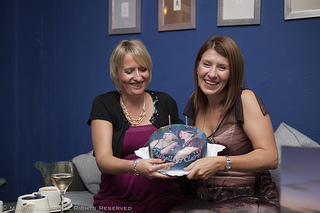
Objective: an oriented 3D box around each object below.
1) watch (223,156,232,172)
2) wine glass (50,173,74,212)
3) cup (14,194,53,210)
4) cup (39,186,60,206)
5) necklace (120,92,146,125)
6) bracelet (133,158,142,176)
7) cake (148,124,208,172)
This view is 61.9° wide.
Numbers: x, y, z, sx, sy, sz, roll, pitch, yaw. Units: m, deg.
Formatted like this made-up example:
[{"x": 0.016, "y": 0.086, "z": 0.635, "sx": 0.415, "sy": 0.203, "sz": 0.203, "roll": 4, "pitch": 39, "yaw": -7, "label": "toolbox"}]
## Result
[{"x": 0.397, "y": 0.335, "z": 1.551, "sx": 0.042, "sy": 0.094, "sz": 0.041, "roll": 1, "pitch": 9, "yaw": 13, "label": "watch"}, {"x": -0.519, "y": 0.445, "z": 1.401, "sx": 0.112, "sy": 0.227, "sz": 0.084, "roll": 4, "pitch": 10, "yaw": 28, "label": "wine glass"}, {"x": -0.612, "y": 0.445, "z": 1.294, "sx": 0.104, "sy": 0.062, "sz": 0.083, "roll": 3, "pitch": -9, "yaw": -3, "label": "cup"}, {"x": -0.621, "y": 0.499, "z": 1.517, "sx": 0.117, "sy": 0.093, "sz": 0.121, "roll": -2, "pitch": -2, "yaw": 0, "label": "cup"}, {"x": -0.203, "y": 0.021, "z": 1.931, "sx": 0.146, "sy": 0.194, "sz": 0.049, "roll": -6, "pitch": -16, "yaw": -10, "label": "necklace"}, {"x": -0.135, "y": 0.360, "z": 1.604, "sx": 0.051, "sy": 0.085, "sz": 0.086, "roll": 6, "pitch": 31, "yaw": 10, "label": "bracelet"}, {"x": 0.110, "y": 0.210, "z": 1.551, "sx": 0.362, "sy": 0.090, "sz": 0.358, "roll": -19, "pitch": 32, "yaw": -27, "label": "cake"}]
